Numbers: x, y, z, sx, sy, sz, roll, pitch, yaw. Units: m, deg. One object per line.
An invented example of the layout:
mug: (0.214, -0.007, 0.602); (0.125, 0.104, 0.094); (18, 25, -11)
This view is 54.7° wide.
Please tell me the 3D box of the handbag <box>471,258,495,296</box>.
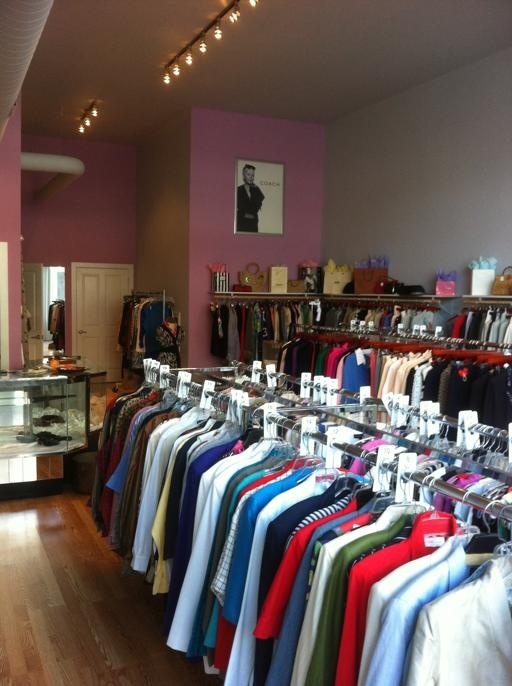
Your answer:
handbag: (2.475, -0.724, 5.471); (0.261, 0.442, 0.296); (2, 3, 25)

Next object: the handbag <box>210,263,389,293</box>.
handbag: (0.839, -0.980, 7.553); (2.298, 0.492, 1.059); (2, 3, 19)
